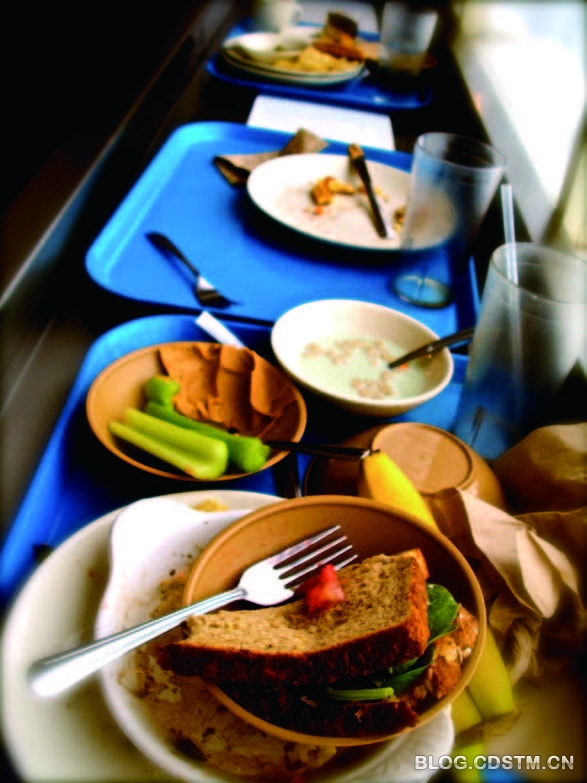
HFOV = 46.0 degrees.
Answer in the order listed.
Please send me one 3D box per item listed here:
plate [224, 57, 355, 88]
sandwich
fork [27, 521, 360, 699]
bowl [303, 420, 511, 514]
[{"bbox_3d":[0.012,-0.877,1.919,0.201,0.032,0.170,-2,33,-14],"label":"plate"},{"bbox_3d":[0.019,0.177,0.502,0.188,0.183,0.040,-14,92,-32],"label":"sandwich"},{"bbox_3d":[-0.070,0.161,0.498,0.283,0.020,0.040,-20,8,-35],"label":"fork"},{"bbox_3d":[0.134,0.065,0.685,0.117,0.029,0.122,15,42,-14],"label":"bowl"}]
